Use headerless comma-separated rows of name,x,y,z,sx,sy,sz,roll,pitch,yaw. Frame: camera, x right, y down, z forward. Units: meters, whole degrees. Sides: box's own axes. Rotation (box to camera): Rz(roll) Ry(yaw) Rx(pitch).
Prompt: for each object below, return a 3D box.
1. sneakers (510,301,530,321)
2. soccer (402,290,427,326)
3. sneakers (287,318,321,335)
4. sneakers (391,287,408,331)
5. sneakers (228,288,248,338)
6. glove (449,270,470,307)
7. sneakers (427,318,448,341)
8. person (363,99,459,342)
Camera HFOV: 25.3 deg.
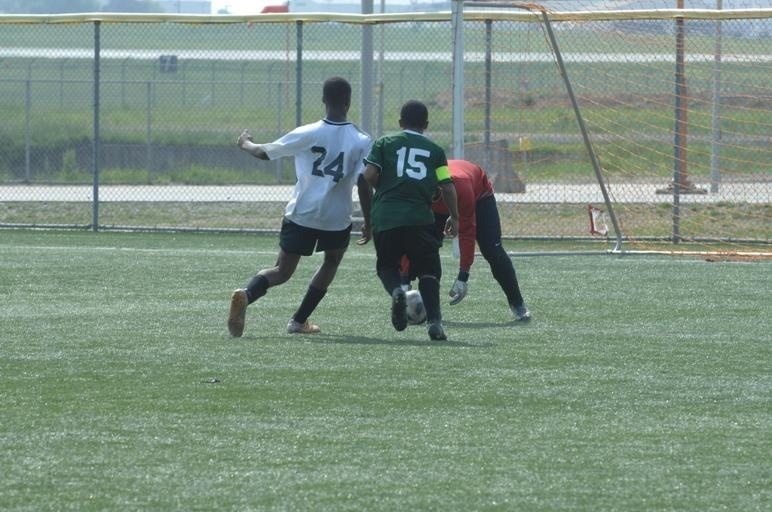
sneakers,1.511,0.656,19.614,0.130,0.135,0.302,-24,-6,-13
soccer,0.192,0.577,19.122,0.290,0.316,0.347,-3,8,-14
sneakers,-0.943,0.810,19.176,0.396,0.160,0.141,0,3,-12
sneakers,0.122,0.588,18.812,0.148,0.476,0.208,-2,4,2
sneakers,-1.595,0.630,18.906,0.225,0.519,0.255,6,-10,5
glove,0.811,0.375,19.483,0.163,0.363,0.236,26,-13,-7
sneakers,0.524,0.830,18.883,0.127,0.123,0.312,-2,-17,8
person,0.267,-0.389,18.992,1.017,2.664,0.617,-3,4,-10
